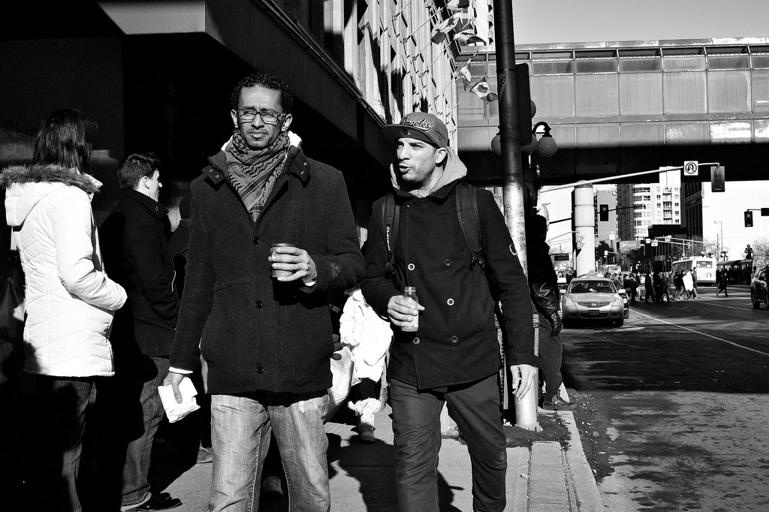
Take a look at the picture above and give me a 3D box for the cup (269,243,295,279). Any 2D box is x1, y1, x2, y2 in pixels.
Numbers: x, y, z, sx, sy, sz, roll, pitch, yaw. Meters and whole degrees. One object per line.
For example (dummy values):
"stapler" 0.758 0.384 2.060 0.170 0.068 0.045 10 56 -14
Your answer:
"cup" -0.647 0.032 5.067 0.192 0.234 0.196 0 -7 0

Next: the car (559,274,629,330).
"car" 7.093 1.591 26.872 2.074 1.473 2.488 -1 3 16

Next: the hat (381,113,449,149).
"hat" 0.276 -0.934 6.030 0.389 0.228 0.269 9 -3 -41

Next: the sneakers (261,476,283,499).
"sneakers" -1.015 2.133 7.335 0.126 0.146 0.215 0 -25 -4
